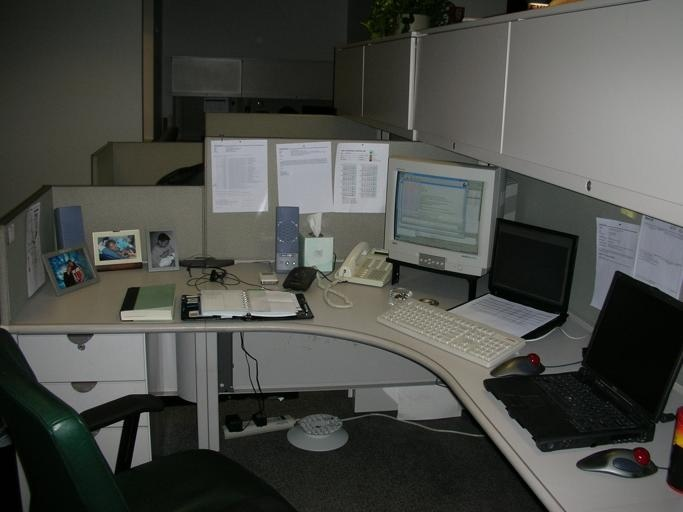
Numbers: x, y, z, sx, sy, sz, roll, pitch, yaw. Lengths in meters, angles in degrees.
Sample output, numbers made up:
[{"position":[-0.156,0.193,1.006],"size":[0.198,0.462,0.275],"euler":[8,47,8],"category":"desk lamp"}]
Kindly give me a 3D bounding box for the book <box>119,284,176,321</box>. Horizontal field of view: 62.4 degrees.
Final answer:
[{"position":[-0.737,0.154,2.249],"size":[0.306,0.100,0.294],"euler":[1,14,-11],"category":"book"}]

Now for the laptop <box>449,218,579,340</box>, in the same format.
[{"position":[0.719,0.059,2.285],"size":[0.463,0.451,0.428],"euler":[-19,29,-36],"category":"laptop"}]

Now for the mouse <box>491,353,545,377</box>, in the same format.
[{"position":[0.577,0.362,1.844],"size":[0.140,0.048,0.083],"euler":[-6,10,-5],"category":"mouse"}]

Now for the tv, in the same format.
[{"position":[0.440,-0.179,2.397],"size":[0.545,0.492,0.193],"euler":[14,15,39],"category":"tv"}]

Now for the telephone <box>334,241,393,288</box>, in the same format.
[{"position":[0.114,0.038,2.593],"size":[0.218,0.213,0.224],"euler":[15,18,35],"category":"telephone"}]

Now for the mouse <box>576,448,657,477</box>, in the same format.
[{"position":[0.716,0.525,1.458],"size":[0.207,0.062,0.072],"euler":[4,16,13],"category":"mouse"}]

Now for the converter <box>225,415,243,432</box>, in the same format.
[{"position":[-0.564,0.872,2.963],"size":[0.056,0.053,0.106],"euler":[0,6,-14],"category":"converter"}]

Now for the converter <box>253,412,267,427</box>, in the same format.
[{"position":[-0.436,0.864,3.020],"size":[0.064,0.091,0.093],"euler":[1,3,-12],"category":"converter"}]

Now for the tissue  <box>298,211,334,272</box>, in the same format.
[{"position":[-0.124,-0.053,2.625],"size":[0.114,0.288,0.136],"euler":[-2,21,-46],"category":"tissue "}]
